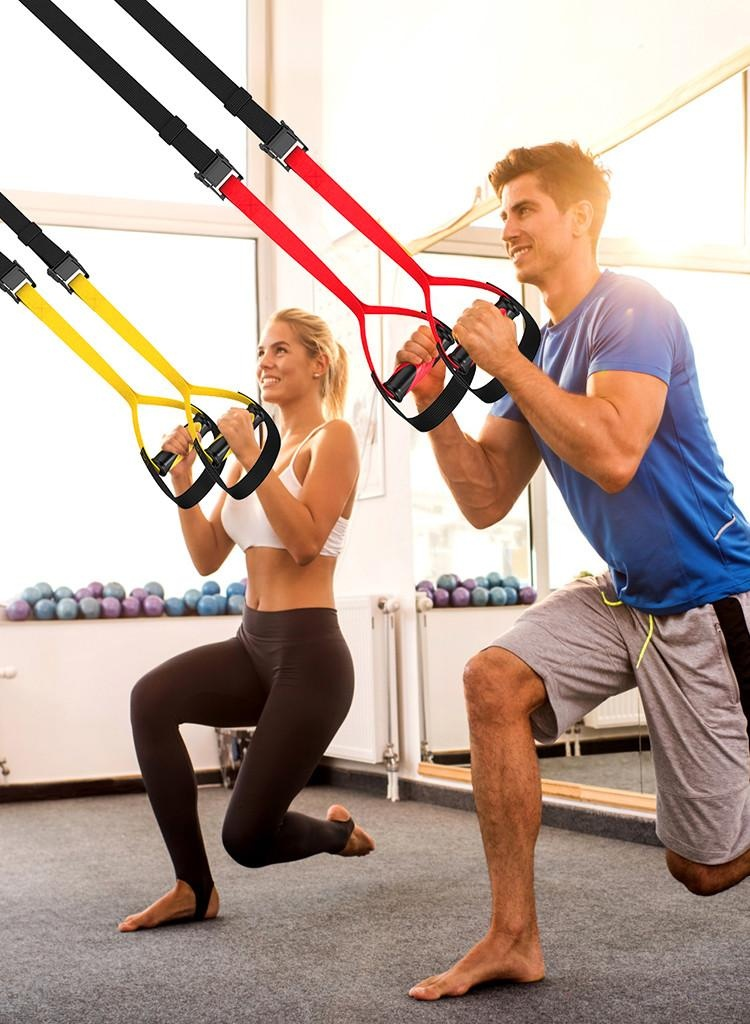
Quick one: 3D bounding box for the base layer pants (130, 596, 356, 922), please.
[{"bbox_3d":[-0.268,0.508,1.723,0.445,0.637,0.282,2,-14,-15],"label":"base layer pants"}]
